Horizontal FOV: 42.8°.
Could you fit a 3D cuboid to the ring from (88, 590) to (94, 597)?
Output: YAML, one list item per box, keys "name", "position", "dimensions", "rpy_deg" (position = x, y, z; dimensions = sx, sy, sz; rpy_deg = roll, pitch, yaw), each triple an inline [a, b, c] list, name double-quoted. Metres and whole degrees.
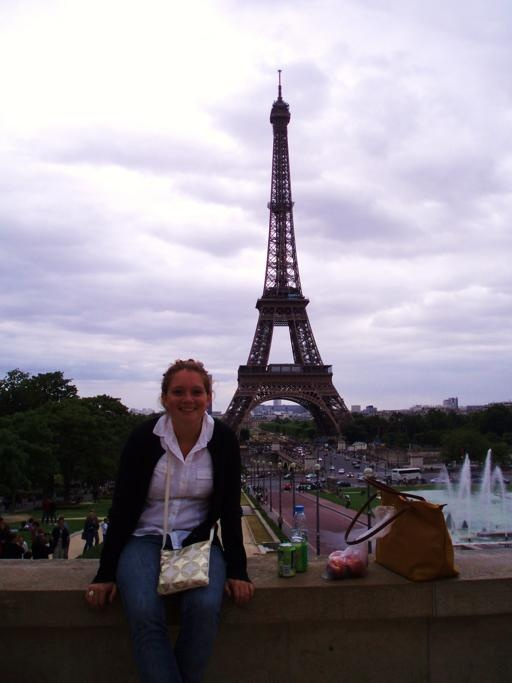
- name: "ring"
  position: [-0.968, 1.472, 3.825]
  dimensions: [0.033, 0.040, 0.012]
  rpy_deg: [1, 3, 7]

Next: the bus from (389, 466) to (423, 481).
- name: "bus"
  position: [15.334, 13.444, 66.168]
  dimensions: [3.783, 1.455, 1.448]
  rpy_deg: [-1, -2, -11]

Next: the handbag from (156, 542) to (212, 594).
- name: "handbag"
  position: [-0.422, 1.322, 3.817]
  dimensions: [0.292, 0.236, 0.267]
  rpy_deg: [-1, -4, -6]

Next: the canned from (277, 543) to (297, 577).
- name: "canned"
  position: [0.199, 1.419, 4.261]
  dimensions: [0.118, 0.196, 0.157]
  rpy_deg: [-2, -4, 4]

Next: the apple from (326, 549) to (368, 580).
- name: "apple"
  position: [0.593, 1.435, 4.207]
  dimensions: [0.187, 0.094, 0.241]
  rpy_deg: [-1, 7, 9]
